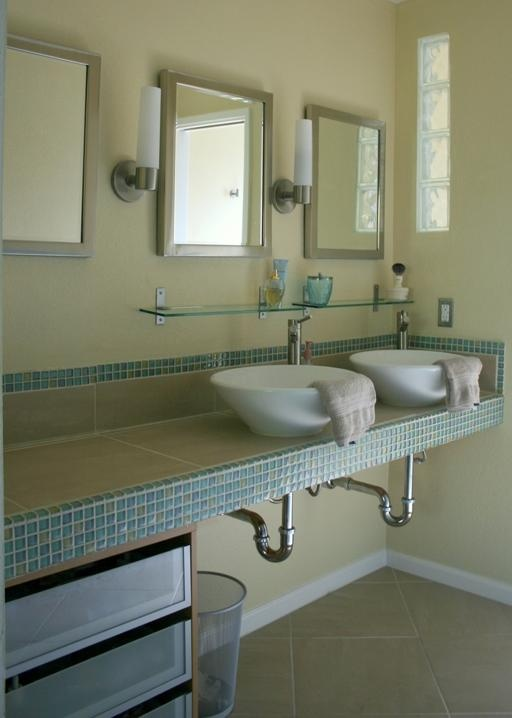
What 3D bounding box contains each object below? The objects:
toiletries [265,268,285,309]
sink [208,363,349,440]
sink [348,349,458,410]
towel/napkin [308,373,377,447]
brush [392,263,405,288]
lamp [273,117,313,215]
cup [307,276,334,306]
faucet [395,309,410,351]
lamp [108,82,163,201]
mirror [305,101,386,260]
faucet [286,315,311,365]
[{"bbox_3d":[0.064,-0.264,2.170,0.071,0.150,0.187,0,3,-1],"label":"toiletries"},{"bbox_3d":[0.036,0.121,1.680,0.267,0.107,0.283,0,5,19],"label":"sink"},{"bbox_3d":[0.583,0.072,2.289,0.425,0.181,0.422,-7,7,-26],"label":"sink"},{"bbox_3d":[0.250,0.132,1.631,0.187,0.199,0.068,-7,12,-34],"label":"towel/napkin"},{"bbox_3d":[0.701,-0.407,2.830,0.065,0.129,0.126,1,3,14],"label":"brush"},{"bbox_3d":[0.140,-0.760,2.240,0.159,0.369,0.310,0,3,5],"label":"lamp"},{"bbox_3d":[0.266,-0.271,2.347,0.117,0.139,0.117,1,4,0],"label":"cup"},{"bbox_3d":[0.721,-0.147,2.830,0.062,0.190,0.121,1,3,14],"label":"faucet"},{"bbox_3d":[-0.362,-0.630,1.727,0.148,0.302,0.194,0,3,-11],"label":"lamp"},{"bbox_3d":[0.376,-0.787,2.504,0.055,0.837,0.715,5,6,41],"label":"mirror"},{"bbox_3d":[0.157,-0.073,2.173,0.074,0.182,0.213,0,3,3],"label":"faucet"}]
